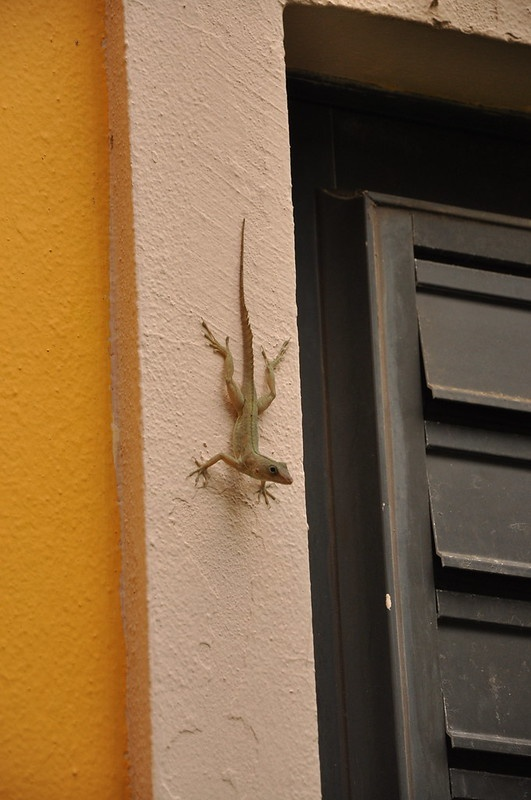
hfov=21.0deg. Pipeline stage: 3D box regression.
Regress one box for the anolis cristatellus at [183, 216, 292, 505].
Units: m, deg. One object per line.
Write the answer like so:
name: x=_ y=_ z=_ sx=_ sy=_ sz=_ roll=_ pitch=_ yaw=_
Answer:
anolis cristatellus: x=-0.025 y=-0.067 z=3.074 sx=0.146 sy=0.536 sz=0.114 roll=10 pitch=-19 yaw=-29
